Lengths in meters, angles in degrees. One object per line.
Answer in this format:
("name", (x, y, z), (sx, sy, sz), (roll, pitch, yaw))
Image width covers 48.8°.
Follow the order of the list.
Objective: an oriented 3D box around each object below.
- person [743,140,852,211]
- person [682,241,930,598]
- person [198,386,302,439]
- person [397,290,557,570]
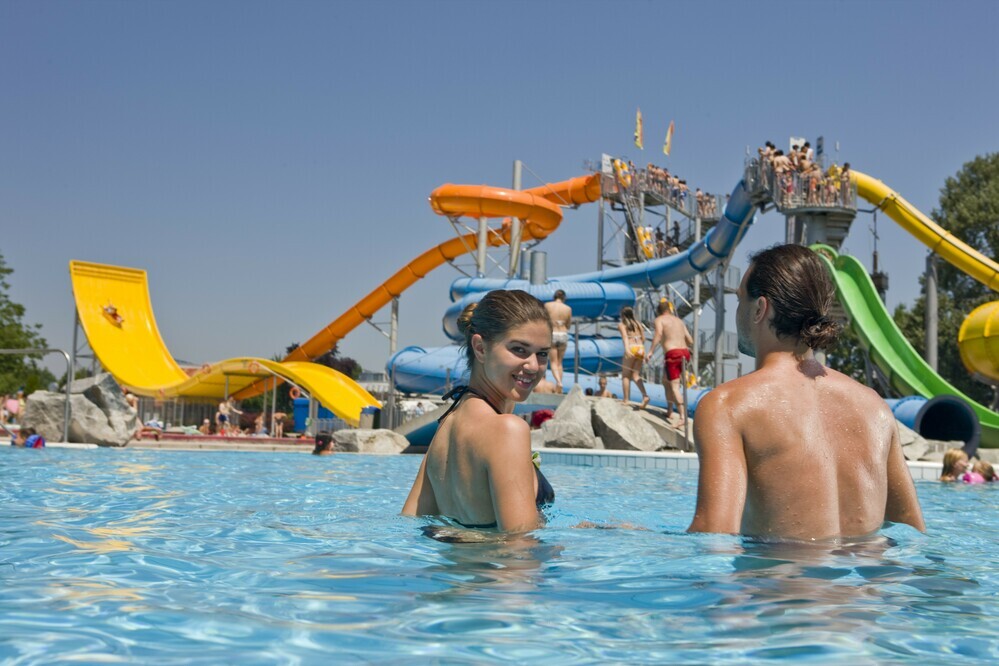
("person", (4.819, -2.540, 17.796), (1.477, 1.151, 0.725), (1, 3, 26))
("person", (1.347, 0.310, 5.076), (0.872, 1.397, 0.251), (0, 3, 7))
("person", (-5.486, 1.704, 24.004), (2.753, 0.978, 0.817), (-8, -9, 31))
("person", (-0.142, 0.410, 5.484), (0.726, 1.240, 0.372), (1, 3, 23))
